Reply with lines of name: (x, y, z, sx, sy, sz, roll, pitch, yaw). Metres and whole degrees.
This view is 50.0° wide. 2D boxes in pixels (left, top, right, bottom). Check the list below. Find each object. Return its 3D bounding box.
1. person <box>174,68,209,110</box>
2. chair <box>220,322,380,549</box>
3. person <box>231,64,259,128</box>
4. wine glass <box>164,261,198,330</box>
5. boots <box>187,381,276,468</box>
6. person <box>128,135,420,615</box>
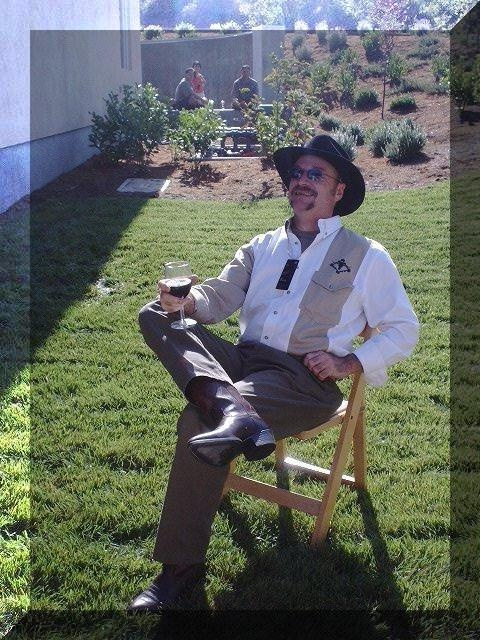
person: (-1.412, -6.456, 14.429, 0.802, 1.180, 0.876, -4, 15, -14)
chair: (0.304, 0.516, 2.467, 0.526, 0.857, 0.732, 7, 16, 25)
person: (0.133, -6.744, 15.584, 0.759, 1.689, 1.409, 0, 15, 0)
wine glass: (-0.269, -0.107, 2.301, 0.127, 0.282, 0.363, -3, 14, -8)
boots: (-0.067, 0.348, 1.827, 0.285, 0.135, 0.365, 3, 29, -25)
person: (0.111, 0.168, 2.440, 1.350, 2.138, 0.949, -1, 10, -37)
